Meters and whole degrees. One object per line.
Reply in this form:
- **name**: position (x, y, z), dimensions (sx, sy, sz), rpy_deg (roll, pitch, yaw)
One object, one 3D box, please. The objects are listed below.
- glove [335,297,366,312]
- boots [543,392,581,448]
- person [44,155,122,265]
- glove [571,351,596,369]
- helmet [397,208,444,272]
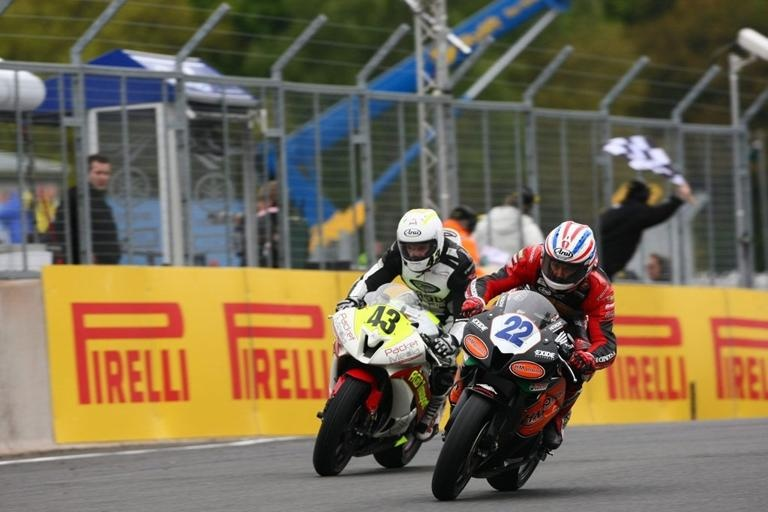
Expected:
- **glove**: position (-0.337, 0.497, 16.453), dimensions (0.222, 0.081, 0.144), rpy_deg (-8, 0, -38)
- **boots**: position (1.694, 1.591, 15.635), dimensions (0.239, 0.391, 0.770), rpy_deg (19, 29, 22)
- **person**: position (-3.333, -0.538, 17.603), dimensions (0.786, 1.226, 0.171), rpy_deg (0, -2, -11)
- **glove**: position (1.924, 0.991, 15.075), dimensions (0.122, 0.179, 0.313), rpy_deg (-2, -2, 36)
- **helmet**: position (0.387, -0.215, 16.590), dimensions (0.540, 0.547, 0.663), rpy_deg (-2, 13, 16)
